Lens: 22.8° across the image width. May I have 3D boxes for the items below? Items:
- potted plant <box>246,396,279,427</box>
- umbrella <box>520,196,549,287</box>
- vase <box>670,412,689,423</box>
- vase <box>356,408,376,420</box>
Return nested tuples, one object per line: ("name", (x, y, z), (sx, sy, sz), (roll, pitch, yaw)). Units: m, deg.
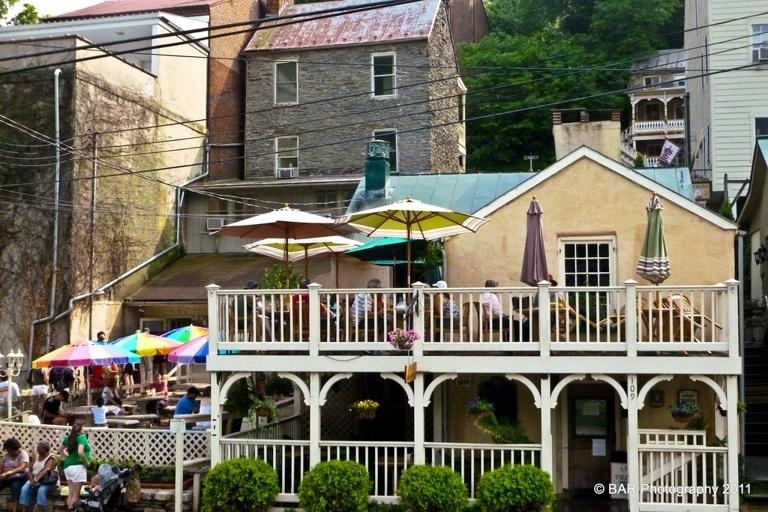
("potted plant", (-4.415, 5.567, 69.077), (1.102, 1.024, 1.091), (0, -6, 22))
("umbrella", (5.452, -0.562, 68.464), (0.997, 3.351, 1.413), (0, -8, 4))
("vase", (10.698, 5.719, 68.300), (0.583, 0.299, 0.747), (1, -7, -2))
("vase", (-0.631, 5.643, 69.512), (0.613, 0.387, 0.619), (-3, -4, 42))
